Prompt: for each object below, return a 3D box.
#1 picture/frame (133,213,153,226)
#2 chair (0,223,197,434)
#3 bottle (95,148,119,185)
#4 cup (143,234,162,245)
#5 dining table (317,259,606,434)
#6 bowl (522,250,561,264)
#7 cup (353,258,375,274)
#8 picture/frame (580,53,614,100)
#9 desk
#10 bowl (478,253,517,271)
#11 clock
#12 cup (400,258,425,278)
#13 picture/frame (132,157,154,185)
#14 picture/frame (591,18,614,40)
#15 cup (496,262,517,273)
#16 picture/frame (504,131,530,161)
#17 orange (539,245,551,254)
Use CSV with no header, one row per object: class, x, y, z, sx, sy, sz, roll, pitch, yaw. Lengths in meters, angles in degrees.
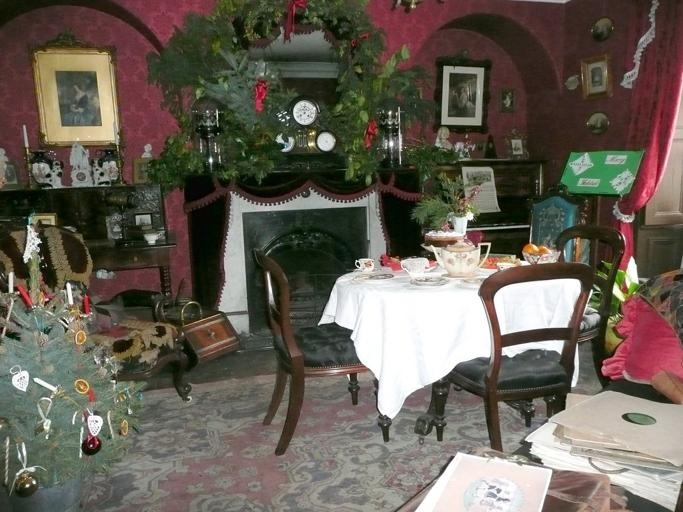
picture/frame,-2.002,-0.369,5.418,0.222,0.143,0.110,1,19,-12
chair,-1.766,0.406,3.952,1.570,1.491,1.243,1,6,-6
bottle,-2.432,-0.921,5.550,0.260,0.349,0.159,-8,16,-19
cup,-1.858,-0.178,5.286,0.134,0.095,0.162,-2,11,-5
dining table,0.579,0.423,3.155,1.222,0.532,1.093,-2,6,-16
bowl,1.317,0.009,3.476,0.169,0.059,0.158,-1,8,0
cup,0.157,0.071,3.680,0.122,0.076,0.091,-8,18,-21
picture/frame,2.991,-2.093,6.286,0.057,0.451,0.409,-11,17,-28
desk,1.445,-0.661,5.745,1.224,1.034,0.462,-2,33,-8
bowl,1.043,0.064,3.666,0.183,0.044,0.170,-3,10,0
clock,-0.351,-1.288,5.299,0.591,0.515,0.144,3,15,-16
cup,0.477,0.074,3.530,0.145,0.111,0.136,3,4,0
picture/frame,-2.117,-0.886,5.754,0.327,0.271,0.077,1,-2,10
picture/frame,3.015,-2.607,6.189,0.056,0.256,0.250,-10,16,-23
cup,0.966,0.065,3.144,0.093,0.027,0.064,-2,13,-1
picture/frame,2.304,-1.456,7.214,0.457,0.440,0.136,-6,-12,-16
orange,1.320,-0.041,3.482,0.056,0.038,0.069,1,4,8
